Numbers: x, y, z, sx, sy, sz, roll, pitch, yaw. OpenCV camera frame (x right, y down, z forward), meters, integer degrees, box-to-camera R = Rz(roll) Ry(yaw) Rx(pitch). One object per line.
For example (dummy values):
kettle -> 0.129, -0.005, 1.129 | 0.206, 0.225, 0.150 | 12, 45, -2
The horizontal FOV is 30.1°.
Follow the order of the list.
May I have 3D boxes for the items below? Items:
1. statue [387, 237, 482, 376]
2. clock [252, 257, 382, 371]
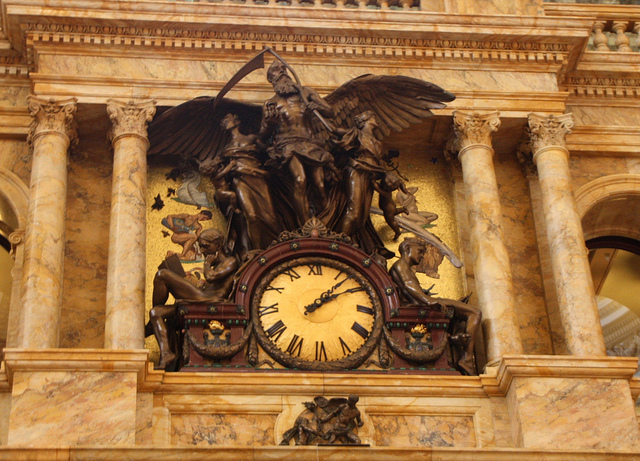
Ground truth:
statue -> 1.414, 0.866, 14.583 | 1.235, 1.674, 0.656 | 1, -12, 6
clock -> -0.047, 0.963, 14.158 | 1.541, 1.468, 0.164 | 0, -30, -6
